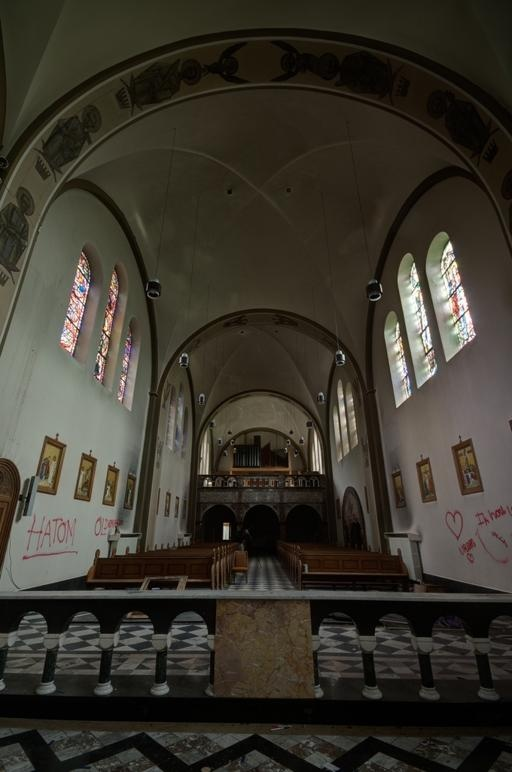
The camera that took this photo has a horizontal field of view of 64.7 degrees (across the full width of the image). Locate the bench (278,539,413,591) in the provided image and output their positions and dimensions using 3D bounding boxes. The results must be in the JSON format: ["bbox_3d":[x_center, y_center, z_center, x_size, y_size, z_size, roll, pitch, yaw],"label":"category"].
[{"bbox_3d":[2.078,4.310,9.471,2.403,0.963,2.720,-5,-23,9],"label":"bench"}]

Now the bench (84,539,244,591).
[{"bbox_3d":[-1.786,3.753,8.301,2.246,0.834,3.466,-4,-23,7],"label":"bench"}]
